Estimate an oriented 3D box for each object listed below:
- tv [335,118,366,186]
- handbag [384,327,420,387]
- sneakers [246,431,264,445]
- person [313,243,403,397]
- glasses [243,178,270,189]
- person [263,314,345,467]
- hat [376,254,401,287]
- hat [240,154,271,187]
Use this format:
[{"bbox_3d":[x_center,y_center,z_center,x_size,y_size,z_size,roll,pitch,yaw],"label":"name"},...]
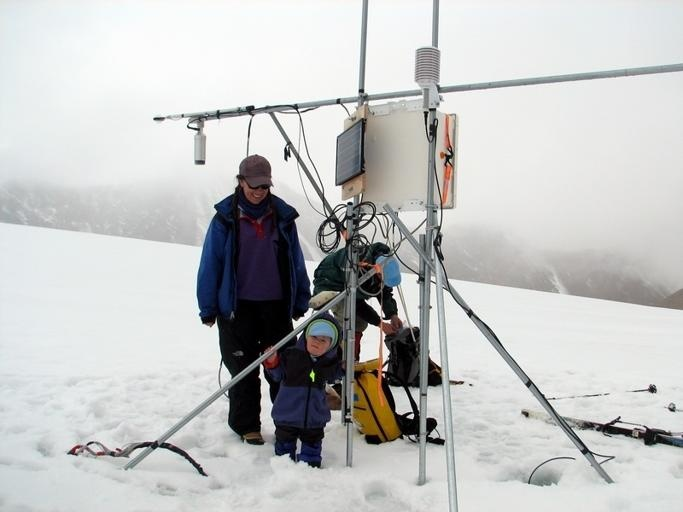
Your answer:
[{"bbox_3d":[0.081,-0.883,4.848,0.072,0.613,0.540,6,-10,-28],"label":"tv"},{"bbox_3d":[0.702,1.145,6.526,0.369,0.663,0.501,1,14,17],"label":"handbag"},{"bbox_3d":[-0.768,1.608,4.908,0.072,0.067,0.183,11,-14,-40],"label":"sneakers"},{"bbox_3d":[0.149,0.616,5.408,0.854,0.656,1.429,5,-20,-5],"label":"person"},{"bbox_3d":[-0.723,-0.619,4.836,0.141,0.117,0.239,2,6,-23],"label":"glasses"},{"bbox_3d":[-0.321,1.107,4.743,0.683,1.231,0.540,1,4,-4],"label":"person"},{"bbox_3d":[0.435,0.137,5.061,0.165,0.327,0.275,-13,-9,2],"label":"hat"},{"bbox_3d":[-0.753,-0.742,4.858,0.197,0.189,0.304,-1,19,-29],"label":"hat"}]
